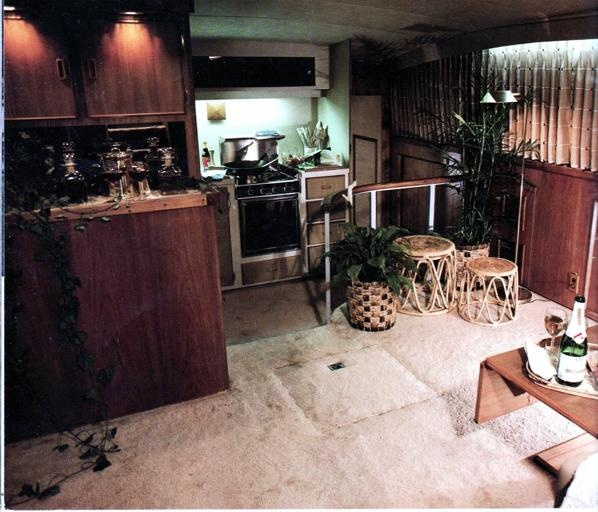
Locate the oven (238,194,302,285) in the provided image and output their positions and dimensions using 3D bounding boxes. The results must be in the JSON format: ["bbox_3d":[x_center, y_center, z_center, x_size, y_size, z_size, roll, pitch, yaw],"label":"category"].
[{"bbox_3d":[-0.295,-0.191,3.968,0.692,0.766,0.666,3,21,9],"label":"oven"}]

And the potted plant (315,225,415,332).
[{"bbox_3d":[0.429,0.126,2.721,0.524,0.638,0.494,-3,15,9],"label":"potted plant"}]

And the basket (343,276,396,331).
[{"bbox_3d":[0.430,0.264,2.790,0.309,0.298,0.304,-1,17,4],"label":"basket"}]

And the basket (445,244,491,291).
[{"bbox_3d":[1.151,0.040,3.098,0.320,0.316,0.294,-3,16,-5],"label":"basket"}]

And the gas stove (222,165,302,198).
[{"bbox_3d":[-0.340,-0.641,3.928,0.745,0.266,0.781,-4,8,6],"label":"gas stove"}]

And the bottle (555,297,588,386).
[{"bbox_3d":[1.001,0.276,1.620,0.091,0.317,0.230,5,17,33],"label":"bottle"}]

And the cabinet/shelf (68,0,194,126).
[{"bbox_3d":[-0.739,-0.834,2.054,0.491,0.437,0.175,-1,5,4],"label":"cabinet/shelf"}]

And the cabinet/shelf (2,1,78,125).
[{"bbox_3d":[-1.144,-0.806,1.919,0.305,0.417,0.124,-10,16,-19],"label":"cabinet/shelf"}]

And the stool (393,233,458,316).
[{"bbox_3d":[0.888,0.199,2.992,0.368,0.361,0.388,-8,-8,44],"label":"stool"}]

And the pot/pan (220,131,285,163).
[{"bbox_3d":[-0.418,-0.932,3.883,0.533,0.301,0.457,-3,13,-16],"label":"pot/pan"}]

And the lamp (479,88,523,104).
[{"bbox_3d":[1.244,-0.975,2.730,0.205,0.100,0.376,2,15,26],"label":"lamp"}]

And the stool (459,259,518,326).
[{"bbox_3d":[1.199,0.208,2.789,0.356,0.343,0.365,1,21,22],"label":"stool"}]
